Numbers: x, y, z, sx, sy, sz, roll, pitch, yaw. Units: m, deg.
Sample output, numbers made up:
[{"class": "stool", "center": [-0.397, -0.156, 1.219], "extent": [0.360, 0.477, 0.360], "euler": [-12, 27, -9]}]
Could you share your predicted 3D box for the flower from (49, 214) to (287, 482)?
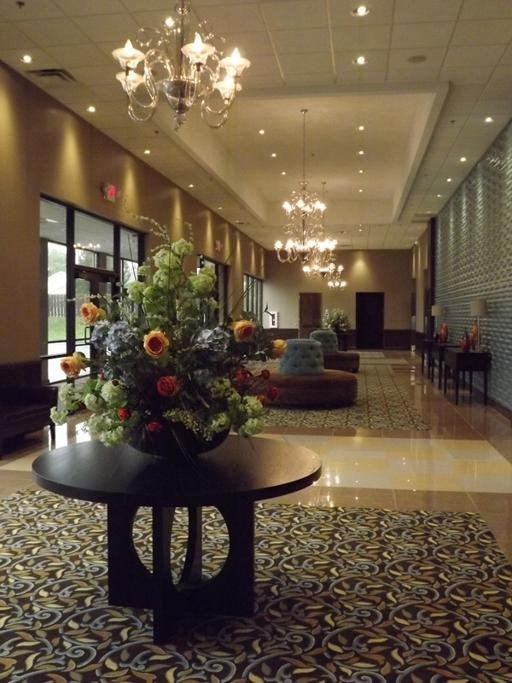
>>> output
[{"class": "flower", "center": [-0.311, -0.005, 1.769], "extent": [0.688, 0.844, 0.559], "euler": [2, 1, 42]}]

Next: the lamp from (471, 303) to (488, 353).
[{"class": "lamp", "center": [3.634, -0.251, 8.128], "extent": [0.241, 0.813, 1.050], "euler": [1, 1, 25]}]

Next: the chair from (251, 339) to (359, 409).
[{"class": "chair", "center": [0.829, 0.508, 7.382], "extent": [1.119, 0.688, 1.119], "euler": [2, 5, 24]}]
